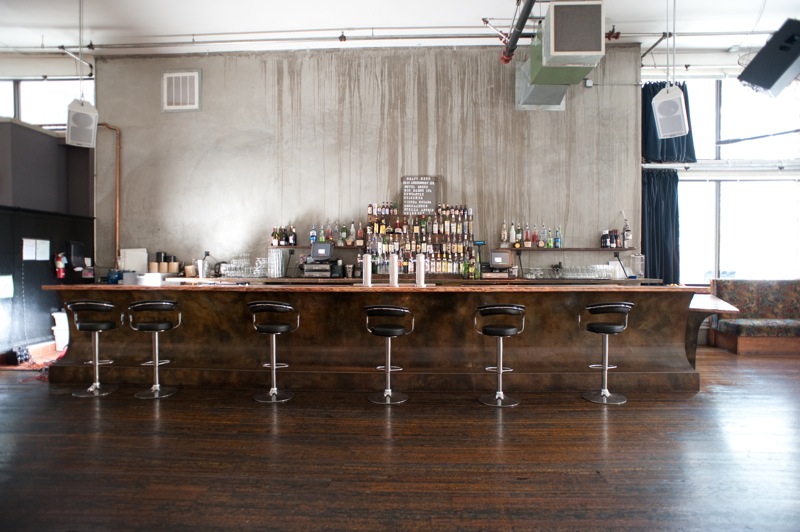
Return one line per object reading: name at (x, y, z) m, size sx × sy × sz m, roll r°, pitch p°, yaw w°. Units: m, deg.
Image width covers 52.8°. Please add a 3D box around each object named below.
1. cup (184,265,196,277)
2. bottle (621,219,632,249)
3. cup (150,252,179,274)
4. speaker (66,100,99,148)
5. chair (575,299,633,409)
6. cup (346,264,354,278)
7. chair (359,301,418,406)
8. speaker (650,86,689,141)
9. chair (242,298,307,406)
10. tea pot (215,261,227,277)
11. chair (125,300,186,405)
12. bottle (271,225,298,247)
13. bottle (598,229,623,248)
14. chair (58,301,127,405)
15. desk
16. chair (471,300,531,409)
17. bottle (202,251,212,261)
cup at (-3.969, 0.095, 15.298) m, size 0.235 × 0.205 × 0.227 m, roll 1°, pitch 2°, yaw 0°
bottle at (4.267, -0.618, 15.114) m, size 0.203 × 0.572 × 0.155 m, roll -2°, pitch 2°, yaw 2°
cup at (-4.426, -0.071, 15.352) m, size 0.470 × 0.403 × 0.447 m, roll 1°, pitch 2°, yaw 0°
speaker at (-5.216, -2.363, 13.243) m, size 0.461 × 0.745 × 0.252 m, roll -2°, pitch 2°, yaw -21°
chair at (3.131, 1.291, 12.210) m, size 0.835 × 1.511 × 0.793 m, roll -1°, pitch 2°, yaw 14°
cup at (-0.924, 0.079, 15.145) m, size 0.154 × 0.231 × 0.229 m, roll -2°, pitch 2°, yaw -19°
chair at (-0.129, 1.316, 12.224) m, size 0.780 × 1.467 × 0.753 m, roll -2°, pitch 2°, yaw -2°
speaker at (4.294, -2.479, 12.823) m, size 0.470 × 0.799 × 0.379 m, roll -1°, pitch 2°, yaw 25°
chair at (-1.908, 1.273, 12.307) m, size 0.809 × 1.517 × 0.780 m, roll -2°, pitch 2°, yaw -7°
tea pot at (-3.392, 0.063, 15.307) m, size 0.214 × 0.259 × 0.095 m, roll 3°, pitch -1°, yaw -12°
chair at (-3.791, 1.256, 12.459) m, size 0.866 × 1.467 × 0.875 m, roll -2°, pitch 2°, yaw -12°
bottle at (-2.175, -0.558, 15.333) m, size 0.427 × 0.370 × 0.139 m, roll 1°, pitch -5°, yaw -16°
bottle at (3.940, -0.504, 15.040) m, size 0.410 × 0.434 × 0.307 m, roll 3°, pitch 5°, yaw 6°
chair at (-4.726, 1.247, 12.498) m, size 0.753 × 1.442 × 0.977 m, roll -2°, pitch 2°, yaw -19°
desk at (4.813, 1.001, 12.607) m, size 0.681 × 1.085 × 0.979 m, roll -1°, pitch 2°, yaw 15°
chair at (1.523, 1.314, 12.162) m, size 0.804 × 1.498 × 0.800 m, roll -2°, pitch 2°, yaw 8°
bottle at (-3.707, -0.205, 15.524) m, size 0.189 × 0.181 × 0.067 m, roll -2°, pitch 2°, yaw 1°
